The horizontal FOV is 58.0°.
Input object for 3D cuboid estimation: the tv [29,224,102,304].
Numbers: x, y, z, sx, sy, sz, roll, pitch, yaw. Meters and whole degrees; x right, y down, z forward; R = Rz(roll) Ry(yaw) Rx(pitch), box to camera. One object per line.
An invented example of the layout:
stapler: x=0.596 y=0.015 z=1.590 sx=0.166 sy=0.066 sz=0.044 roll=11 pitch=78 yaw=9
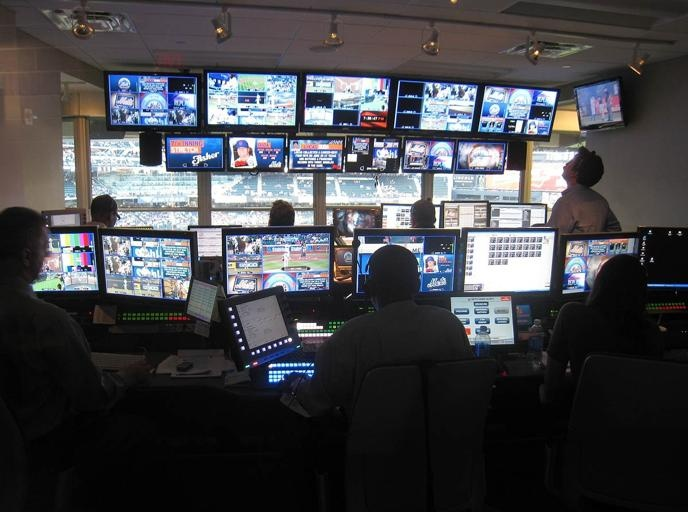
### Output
tv: x=-1.783 y=0.040 z=3.959 sx=0.561 sy=0.492 sz=0.054 roll=1 pitch=1 yaw=-5

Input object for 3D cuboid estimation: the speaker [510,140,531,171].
speaker: x=1.915 y=-1.119 z=6.856 sx=0.201 sy=0.296 sz=0.251 roll=-1 pitch=6 yaw=7

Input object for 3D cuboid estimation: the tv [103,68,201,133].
tv: x=-1.796 y=-1.453 z=5.848 sx=0.649 sy=0.395 sz=0.044 roll=0 pitch=7 yaw=-8

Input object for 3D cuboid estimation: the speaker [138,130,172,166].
speaker: x=-1.981 y=-1.083 z=6.331 sx=0.369 sy=0.488 sz=0.307 roll=-1 pitch=8 yaw=-23

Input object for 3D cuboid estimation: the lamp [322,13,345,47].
lamp: x=-0.070 y=-1.959 z=5.444 sx=0.276 sy=0.280 sz=0.264 roll=-4 pitch=13 yaw=-20

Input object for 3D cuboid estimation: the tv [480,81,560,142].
tv: x=1.803 y=-1.493 z=6.451 sx=1.113 sy=0.614 sz=0.104 roll=2 pitch=23 yaw=-10

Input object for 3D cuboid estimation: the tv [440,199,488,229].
tv: x=1.435 y=-0.496 z=7.329 sx=0.562 sy=0.299 sz=0.231 roll=-1 pitch=6 yaw=6

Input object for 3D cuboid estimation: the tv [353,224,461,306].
tv: x=0.393 y=0.060 z=3.879 sx=0.567 sy=0.355 sz=0.023 roll=0 pitch=4 yaw=-1

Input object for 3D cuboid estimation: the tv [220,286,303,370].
tv: x=-0.516 y=0.445 z=3.764 sx=0.499 sy=0.445 sz=0.177 roll=-14 pitch=-5 yaw=-36

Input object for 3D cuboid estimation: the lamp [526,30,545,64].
lamp: x=1.818 y=-1.994 z=5.896 sx=0.220 sy=0.346 sz=0.121 roll=-2 pitch=-5 yaw=-37

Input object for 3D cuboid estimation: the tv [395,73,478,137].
tv: x=0.922 y=-1.475 z=6.196 sx=0.784 sy=0.408 sz=0.071 roll=0 pitch=15 yaw=-10

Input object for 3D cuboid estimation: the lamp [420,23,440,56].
lamp: x=0.794 y=-1.996 z=5.696 sx=0.187 sy=0.286 sz=0.181 roll=-17 pitch=32 yaw=-36

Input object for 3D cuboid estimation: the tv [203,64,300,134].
tv: x=-0.895 y=-1.486 z=5.971 sx=0.749 sy=0.421 sz=0.072 roll=0 pitch=18 yaw=-5

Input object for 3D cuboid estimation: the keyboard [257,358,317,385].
keyboard: x=-0.354 y=0.694 z=3.701 sx=0.354 sy=0.147 sz=0.061 roll=-14 pitch=-12 yaw=-17

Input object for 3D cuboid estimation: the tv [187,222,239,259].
tv: x=-1.039 y=-0.111 z=4.898 sx=0.357 sy=0.229 sz=0.087 roll=-3 pitch=17 yaw=-10
